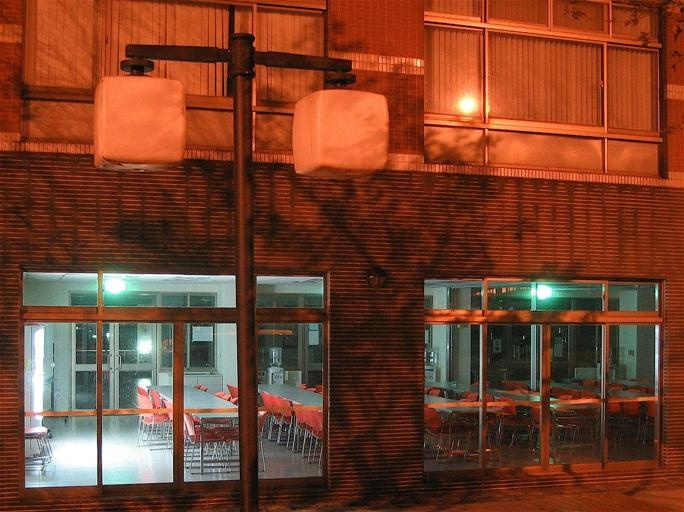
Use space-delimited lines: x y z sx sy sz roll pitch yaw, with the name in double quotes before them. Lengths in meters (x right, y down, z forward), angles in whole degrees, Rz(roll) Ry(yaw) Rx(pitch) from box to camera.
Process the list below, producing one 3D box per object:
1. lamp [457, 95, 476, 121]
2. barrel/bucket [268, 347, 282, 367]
"lamp" 1.926 -2.294 15.367 0.344 0.327 0.199 4 -3 -19
"barrel/bucket" -0.947 1.451 14.140 0.245 0.397 0.242 1 -2 0
